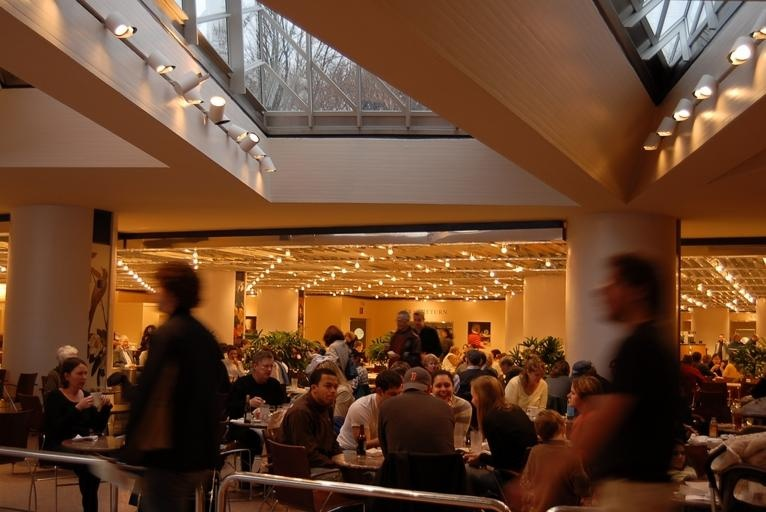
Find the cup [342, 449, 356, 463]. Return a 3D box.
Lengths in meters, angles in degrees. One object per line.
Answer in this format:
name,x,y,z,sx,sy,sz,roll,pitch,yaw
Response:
cup,-0.382,2.262,6.351,0.094,0.162,0.090,-1,-8,0

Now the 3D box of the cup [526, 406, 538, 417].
cup,2.261,2.321,8.496,0.118,0.144,0.214,-3,-1,20
